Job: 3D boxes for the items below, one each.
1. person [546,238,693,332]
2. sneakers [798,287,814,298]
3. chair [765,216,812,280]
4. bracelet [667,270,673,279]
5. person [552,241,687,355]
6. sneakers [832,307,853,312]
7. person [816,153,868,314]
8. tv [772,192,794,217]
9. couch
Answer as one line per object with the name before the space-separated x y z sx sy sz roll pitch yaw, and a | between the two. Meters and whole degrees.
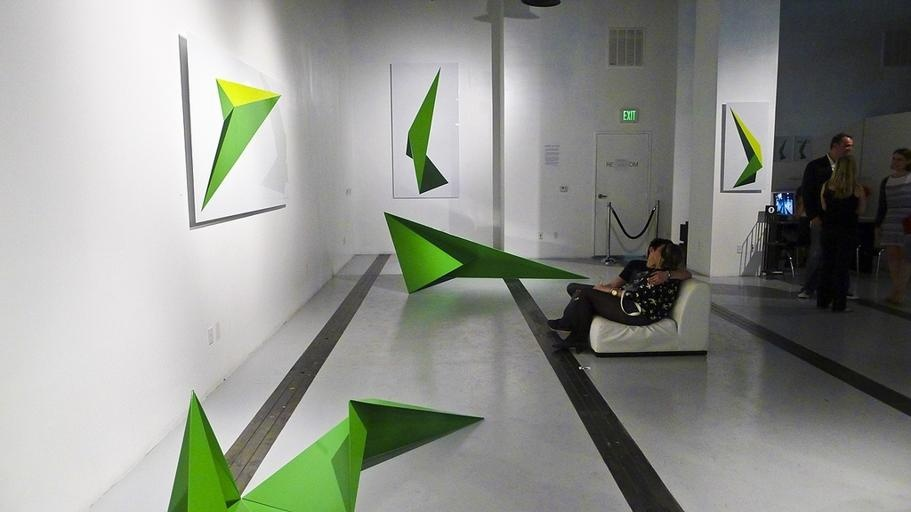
person | 1.803 0.352 5.903 1.427 1.008 0.876 -1 6 15
sneakers | 4.950 0.525 7.510 0.080 0.078 0.200 -12 2 14
chair | 5.553 -0.277 8.698 0.842 1.134 0.853 0 -3 32
bracelet | 2.238 0.190 5.527 0.054 0.070 0.011 -4 14 -13
person | 1.863 0.374 5.826 1.692 1.261 0.865 -2 18 5
sneakers | 5.016 0.693 6.871 0.118 0.051 0.040 -6 36 8
person | 4.856 -0.268 6.726 0.452 1.983 0.311 9 17 34
tv | 5.235 -0.821 8.445 0.385 0.432 0.059 0 -2 2
couch | 2.123 0.577 5.681 0.935 0.584 0.915 1 -2 5
